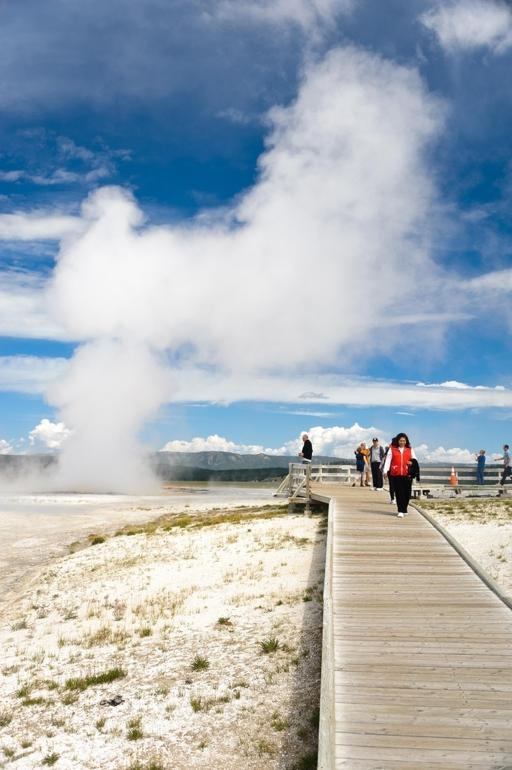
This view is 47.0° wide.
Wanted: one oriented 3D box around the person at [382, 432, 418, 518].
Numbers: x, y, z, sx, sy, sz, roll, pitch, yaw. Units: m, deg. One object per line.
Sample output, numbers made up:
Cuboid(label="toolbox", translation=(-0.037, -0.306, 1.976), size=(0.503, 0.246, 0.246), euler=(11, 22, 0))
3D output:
Cuboid(label="person", translation=(4.485, 2.845, 18.347), size=(0.926, 2.707, 1.251), euler=(0, -1, 10))
